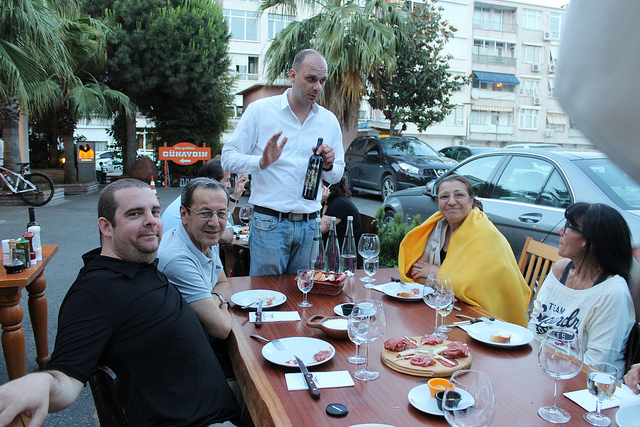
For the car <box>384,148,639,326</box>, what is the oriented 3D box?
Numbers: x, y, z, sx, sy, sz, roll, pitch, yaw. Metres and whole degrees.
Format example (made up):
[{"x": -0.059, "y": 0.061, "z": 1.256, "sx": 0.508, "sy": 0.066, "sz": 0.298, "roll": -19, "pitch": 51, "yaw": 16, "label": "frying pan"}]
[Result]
[{"x": 2.376, "y": -0.059, "z": 5.406, "sx": 1.295, "sy": 1.129, "sz": 2.897, "roll": -1, "pitch": 12, "yaw": -27, "label": "car"}]

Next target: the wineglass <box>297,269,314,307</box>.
[{"x": -0.103, "y": 0.489, "z": 3.014, "sx": 0.102, "sy": 0.250, "sz": 0.263, "roll": 0, "pitch": 12, "yaw": -1, "label": "wineglass"}]

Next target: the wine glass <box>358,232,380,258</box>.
[{"x": 0.386, "y": 0.237, "z": 3.331, "sx": 0.141, "sy": 0.196, "sz": 0.164, "roll": 0, "pitch": -2, "yaw": -10, "label": "wine glass"}]

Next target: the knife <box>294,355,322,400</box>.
[{"x": -0.051, "y": 0.779, "z": 2.119, "sx": 0.043, "sy": 0.037, "sz": 0.280, "roll": -9, "pitch": 14, "yaw": -11, "label": "knife"}]

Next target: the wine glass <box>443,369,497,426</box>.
[{"x": 0.588, "y": 0.734, "z": 1.747, "sx": 0.189, "sy": 0.187, "sz": 0.134, "roll": 5, "pitch": 13, "yaw": 18, "label": "wine glass"}]

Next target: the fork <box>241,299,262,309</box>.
[{"x": -0.448, "y": 0.600, "z": 2.979, "sx": 0.191, "sy": 0.022, "sz": 0.022, "roll": -14, "pitch": 47, "yaw": -42, "label": "fork"}]

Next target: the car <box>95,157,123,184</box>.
[{"x": -10.779, "y": -2.240, "z": 22.422, "sx": 1.155, "sy": 1.174, "sz": 2.836, "roll": -6, "pitch": 13, "yaw": -27, "label": "car"}]

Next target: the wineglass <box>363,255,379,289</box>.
[{"x": 0.377, "y": 0.430, "z": 3.317, "sx": 0.099, "sy": 0.276, "sz": 0.256, "roll": 1, "pitch": 12, "yaw": 4, "label": "wineglass"}]

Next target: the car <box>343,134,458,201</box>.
[{"x": 2.202, "y": -1.318, "z": 12.907, "sx": 2.008, "sy": 1.697, "sz": 3.736, "roll": -3, "pitch": 5, "yaw": -29, "label": "car"}]

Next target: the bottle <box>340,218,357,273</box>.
[{"x": 0.213, "y": 0.247, "z": 3.387, "sx": 0.109, "sy": 0.471, "sz": 0.241, "roll": 2, "pitch": 12, "yaw": 9, "label": "bottle"}]

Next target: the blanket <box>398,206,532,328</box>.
[{"x": 1.181, "y": 0.356, "z": 3.564, "sx": 0.663, "sy": 0.919, "sz": 1.038, "roll": -11, "pitch": 15, "yaw": -35, "label": "blanket"}]

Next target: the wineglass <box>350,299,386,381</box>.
[{"x": 0.238, "y": 0.610, "z": 2.231, "sx": 0.169, "sy": 0.328, "sz": 0.310, "roll": 2, "pitch": 12, "yaw": 9, "label": "wineglass"}]

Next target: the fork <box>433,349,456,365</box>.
[{"x": 0.638, "y": 0.734, "z": 2.255, "sx": 0.031, "sy": 0.011, "sz": 0.097, "roll": -17, "pitch": 22, "yaw": -24, "label": "fork"}]
